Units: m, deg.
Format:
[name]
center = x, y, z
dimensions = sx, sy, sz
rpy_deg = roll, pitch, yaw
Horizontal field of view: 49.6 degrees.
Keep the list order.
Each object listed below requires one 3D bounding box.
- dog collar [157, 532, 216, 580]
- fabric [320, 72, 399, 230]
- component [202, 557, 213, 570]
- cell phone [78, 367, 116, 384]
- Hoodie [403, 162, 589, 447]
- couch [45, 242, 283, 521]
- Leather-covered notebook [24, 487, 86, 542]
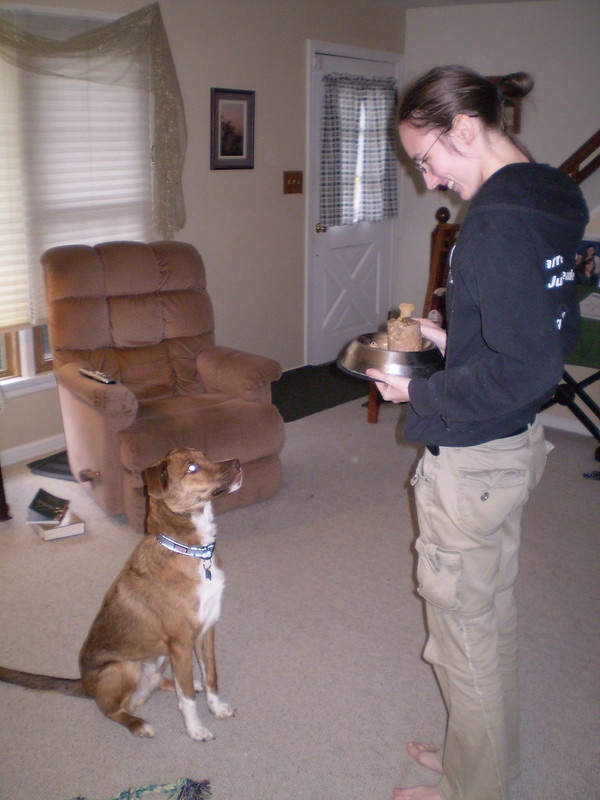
[dog collar]
center = -0.302, 0.399, 1.750
dimensions = 0.143, 0.069, 0.108
rpy_deg = 20, 4, 5
[fabric]
center = 0.497, -2.139, 5.611
dimensions = 0.116, 1.142, 0.958
rpy_deg = -23, 30, -38
[component]
center = -0.252, 0.438, 1.747
dimensions = 0.027, 0.025, 0.007
rpy_deg = -5, 5, -42
[cell phone]
center = -0.947, -0.113, 3.002
dimensions = 0.177, 0.040, 0.096
rpy_deg = 30, 7, 21
[Hoodie]
center = 0.343, -0.169, 1.153
dimensions = 0.289, 0.438, 0.392
rpy_deg = 2, 15, 25
[couch]
center = -0.692, -0.127, 3.330
dimensions = 0.971, 1.168, 1.160
rpy_deg = -10, 27, -33
[Leather-covered notebook]
center = -1.177, 0.539, 3.089
dimensions = 0.279, 0.094, 0.323
rpy_deg = 5, 19, -16
